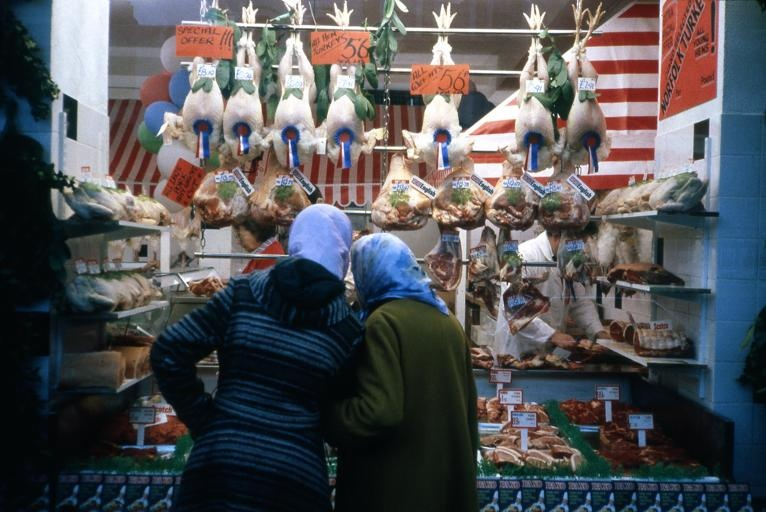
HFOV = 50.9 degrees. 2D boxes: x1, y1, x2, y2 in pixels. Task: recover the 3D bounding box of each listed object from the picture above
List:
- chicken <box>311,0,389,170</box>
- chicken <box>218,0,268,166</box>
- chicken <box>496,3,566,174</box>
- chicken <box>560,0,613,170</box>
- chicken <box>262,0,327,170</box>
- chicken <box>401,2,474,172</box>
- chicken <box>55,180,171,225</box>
[{"bbox_3d":[-0.263,-1.179,5.746,0.633,1.048,0.272,1,-2,6],"label":"chicken"},{"bbox_3d":[-0.982,-1.211,5.723,0.310,1.092,0.282,3,-6,-4],"label":"chicken"},{"bbox_3d":[1.097,-1.123,5.760,0.476,1.173,0.305,4,-9,0],"label":"chicken"},{"bbox_3d":[1.463,-1.262,5.812,0.337,1.220,0.328,2,-11,5],"label":"chicken"},{"bbox_3d":[-0.652,-1.221,5.873,0.401,1.186,0.306,2,-5,0],"label":"chicken"},{"bbox_3d":[0.419,-1.198,5.924,0.526,1.152,0.362,3,-4,8],"label":"chicken"},{"bbox_3d":[-1.828,-0.327,5.591,0.277,0.141,0.462,30,0,30],"label":"chicken"}]
